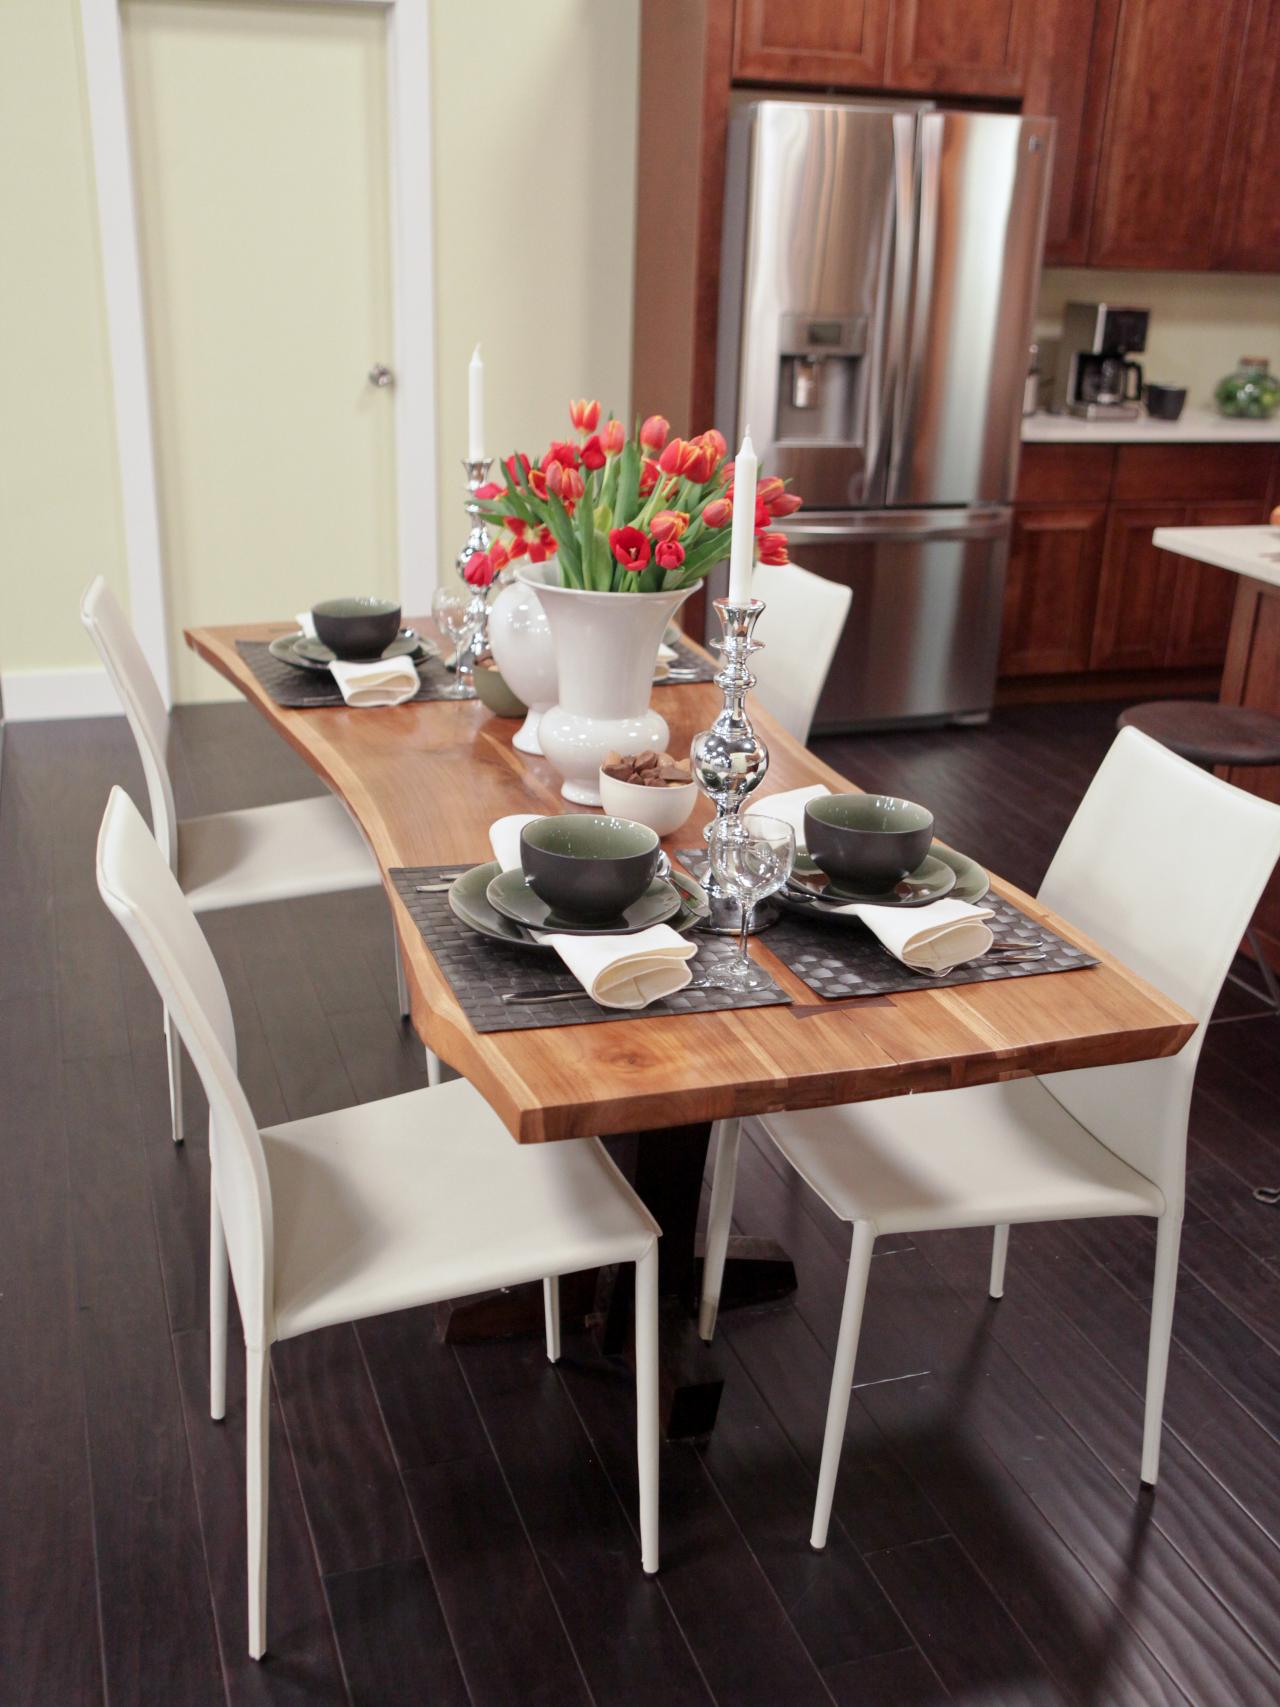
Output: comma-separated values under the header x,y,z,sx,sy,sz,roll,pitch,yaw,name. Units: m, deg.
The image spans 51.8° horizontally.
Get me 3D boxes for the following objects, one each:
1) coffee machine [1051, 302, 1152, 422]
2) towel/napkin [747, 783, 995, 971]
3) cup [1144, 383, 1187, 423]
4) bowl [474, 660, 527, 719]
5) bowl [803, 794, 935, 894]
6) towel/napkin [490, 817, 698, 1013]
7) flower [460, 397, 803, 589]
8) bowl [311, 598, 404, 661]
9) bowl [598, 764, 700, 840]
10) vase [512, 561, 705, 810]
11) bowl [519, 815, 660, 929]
x,y,z,sx,sy,sz,roll,pitch,yaw,name
1.693,-1.816,4.838,0.331,0.385,0.278,8,25,13,coffee machine
0.213,0.024,1.220,0.162,0.031,0.208,-12,29,-22,towel/napkin
1.971,-1.705,4.954,0.145,0.159,0.177,-7,20,-12,cup
-0.204,-0.245,1.920,0.073,0.059,0.079,0,25,0,bowl
0.210,-0.017,1.217,0.100,0.062,0.101,4,24,-2,bowl
-0.042,0.032,1.144,0.097,0.036,0.261,-4,23,-11,towel/napkin
-0.020,-0.401,1.515,0.305,0.208,0.339,14,19,22,flower
-0.445,-0.352,2.058,0.115,0.065,0.113,-1,12,0,bowl
0.012,-0.059,1.402,0.080,0.054,0.080,4,18,-1,bowl
-0.060,-0.227,1.604,0.241,0.273,0.237,-5,30,-17,vase
-0.044,0.019,1.138,0.124,0.074,0.121,3,20,-1,bowl
